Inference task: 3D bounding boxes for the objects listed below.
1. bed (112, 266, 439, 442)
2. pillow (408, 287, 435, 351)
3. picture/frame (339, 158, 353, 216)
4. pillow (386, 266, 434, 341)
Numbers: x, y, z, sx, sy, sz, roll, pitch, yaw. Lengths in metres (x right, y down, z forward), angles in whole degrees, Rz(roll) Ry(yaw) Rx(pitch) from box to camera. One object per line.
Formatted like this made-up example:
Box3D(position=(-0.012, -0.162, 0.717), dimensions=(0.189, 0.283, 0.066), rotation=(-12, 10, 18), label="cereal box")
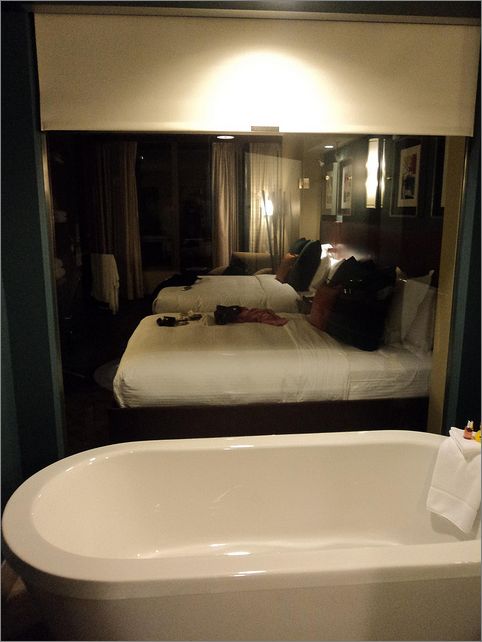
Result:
Box3D(position=(0.159, 0.088, 2.372), dimensions=(1.126, 0.685, 0.739), rotation=(1, 8, -1), label="bed")
Box3D(position=(0.817, 0.000, 2.310), dimensions=(0.062, 0.251, 0.173), rotation=(11, -4, -18), label="pillow")
Box3D(position=(0.452, -0.558, 2.192), dimensions=(0.071, 0.213, 0.010), rotation=(-13, 21, -32), label="picture/frame")
Box3D(position=(0.725, -0.060, 2.191), dimensions=(0.171, 0.352, 0.076), rotation=(12, -8, -2), label="pillow")
